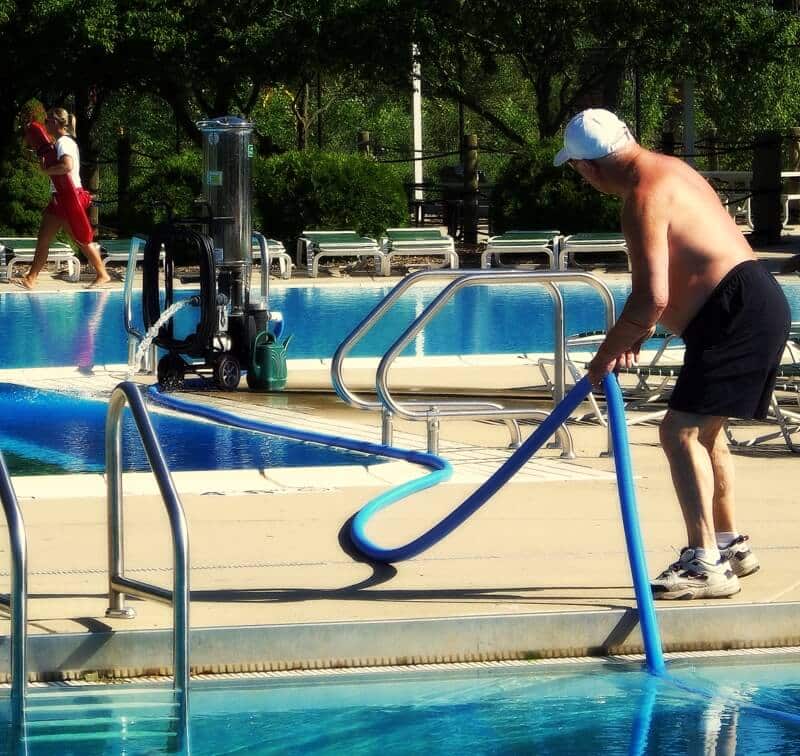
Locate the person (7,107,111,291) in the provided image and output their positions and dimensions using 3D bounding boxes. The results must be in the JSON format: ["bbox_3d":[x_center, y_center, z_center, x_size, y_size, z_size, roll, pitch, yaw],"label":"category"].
[{"bbox_3d":[-3.251,-1.663,15.695,0.747,1.796,1.154,-3,14,-13],"label":"person"}]

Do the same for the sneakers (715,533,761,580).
[{"bbox_3d":[1.192,0.624,5.822,0.083,0.101,0.221,-25,13,-1],"label":"sneakers"}]

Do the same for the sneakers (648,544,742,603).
[{"bbox_3d":[1.006,0.671,5.610,0.365,0.181,0.138,0,1,-2],"label":"sneakers"}]

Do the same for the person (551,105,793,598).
[{"bbox_3d":[0.943,-0.080,5.617,0.781,1.635,0.430,2,13,5],"label":"person"}]

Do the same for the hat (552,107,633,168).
[{"bbox_3d":[0.635,-0.808,5.608,0.236,0.137,0.172,0,33,49],"label":"hat"}]
